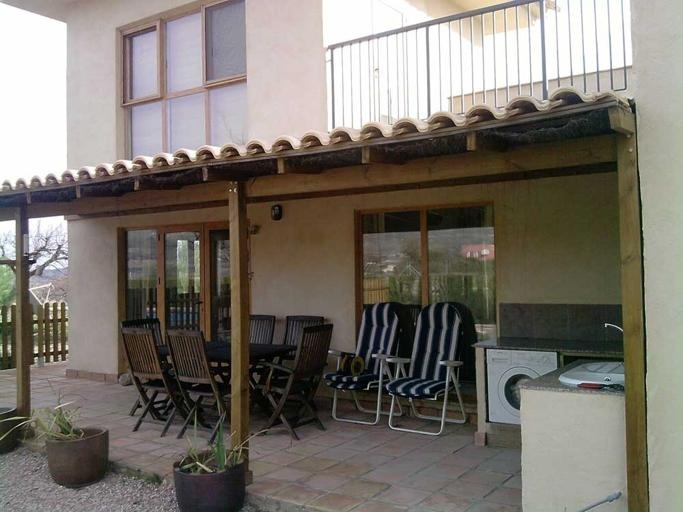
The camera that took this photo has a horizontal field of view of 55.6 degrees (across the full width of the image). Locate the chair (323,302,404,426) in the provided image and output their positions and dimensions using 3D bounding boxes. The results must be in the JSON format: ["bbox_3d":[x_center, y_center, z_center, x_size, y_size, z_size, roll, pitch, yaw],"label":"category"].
[{"bbox_3d":[0.238,1.213,8.036,0.865,1.502,0.758,2,3,41],"label":"chair"}]

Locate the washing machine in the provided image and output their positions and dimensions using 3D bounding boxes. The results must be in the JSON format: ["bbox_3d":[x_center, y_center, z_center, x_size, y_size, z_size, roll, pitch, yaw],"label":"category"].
[{"bbox_3d":[1.978,1.326,7.089,0.598,0.822,0.592,1,1,28],"label":"washing machine"}]
